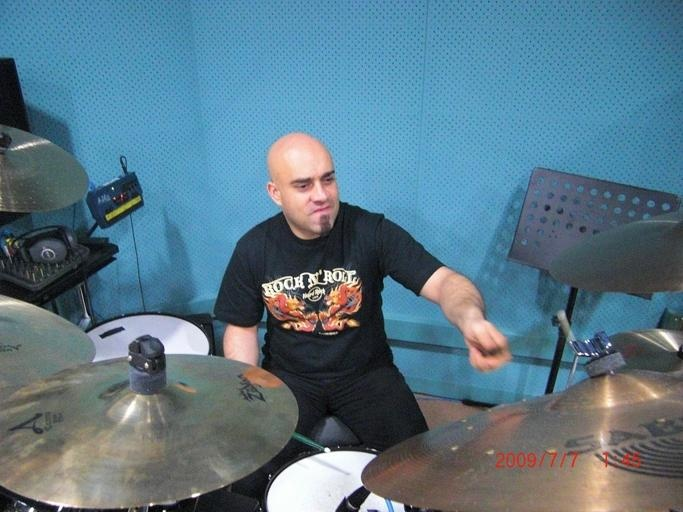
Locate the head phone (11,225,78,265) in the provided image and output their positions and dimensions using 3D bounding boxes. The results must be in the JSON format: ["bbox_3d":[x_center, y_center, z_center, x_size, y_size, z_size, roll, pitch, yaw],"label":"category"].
[{"bbox_3d":[-1.263,-0.044,2.334,0.241,0.151,0.126,-3,16,-10],"label":"head phone"}]

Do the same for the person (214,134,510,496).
[{"bbox_3d":[0.109,0.169,2.124,0.987,1.443,0.933,-10,18,-10],"label":"person"}]
